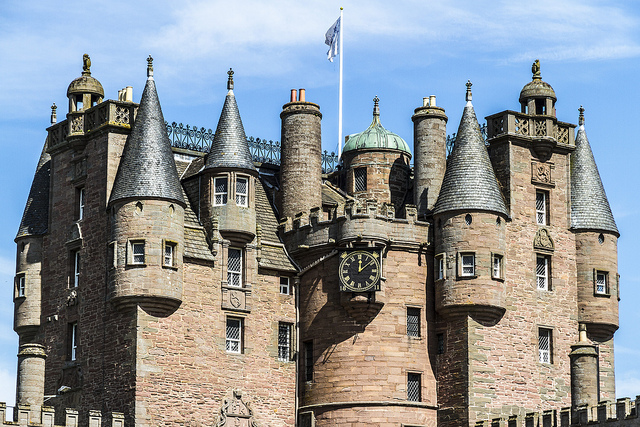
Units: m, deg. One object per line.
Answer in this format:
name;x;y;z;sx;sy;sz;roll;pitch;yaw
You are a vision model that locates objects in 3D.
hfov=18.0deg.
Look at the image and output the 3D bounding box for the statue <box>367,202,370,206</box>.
statue;2.802;-0.302;119.431;0.137;0.119;0.073;-2;-3;29
